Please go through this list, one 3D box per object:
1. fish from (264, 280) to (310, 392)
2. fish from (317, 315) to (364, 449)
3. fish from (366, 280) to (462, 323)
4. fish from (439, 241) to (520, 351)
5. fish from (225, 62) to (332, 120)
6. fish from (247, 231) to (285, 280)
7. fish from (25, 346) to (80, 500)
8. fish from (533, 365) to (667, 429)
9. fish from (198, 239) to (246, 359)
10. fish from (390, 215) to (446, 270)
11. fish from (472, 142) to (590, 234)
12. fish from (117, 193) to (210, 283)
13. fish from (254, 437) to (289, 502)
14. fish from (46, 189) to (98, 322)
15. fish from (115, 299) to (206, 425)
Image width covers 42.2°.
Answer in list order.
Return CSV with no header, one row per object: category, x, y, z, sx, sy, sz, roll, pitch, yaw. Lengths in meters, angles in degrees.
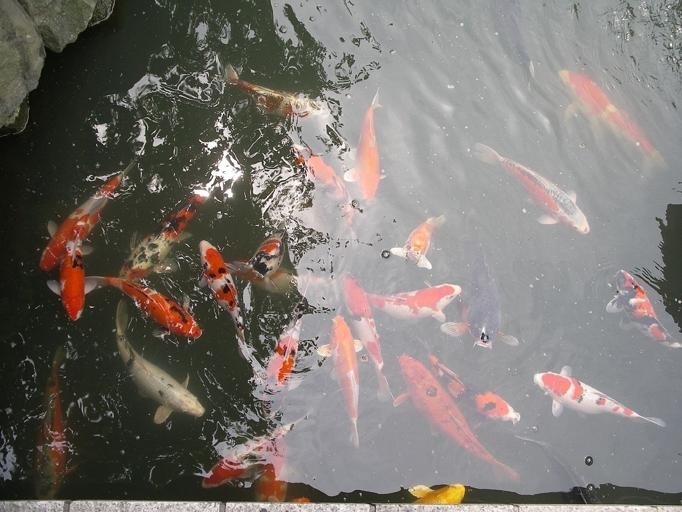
fish,-0.441,0.778,8.188,0.190,0.358,0.832,16,61,-5
fish,-0.009,1.112,7.969,0.346,0.376,1.036,-2,82,-6
fish,0.719,0.439,8.217,0.700,0.296,0.357,-2,32,-4
fish,1.367,0.521,8.236,0.631,0.485,0.795,21,66,34
fish,-0.644,-1.581,8.545,0.664,0.135,0.282,25,34,3
fish,-0.683,-0.009,8.275,0.255,0.246,0.419,25,42,-11
fish,-2.546,1.498,7.947,0.260,0.433,1.199,2,83,-4
fish,2.374,1.288,8.303,1.126,0.468,0.545,25,89,2
fish,-1.095,0.270,8.224,0.292,0.387,1.289,-12,88,-18
fish,0.790,-0.084,8.384,0.646,0.216,0.336,-36,50,-4
fish,1.792,-0.642,8.652,1.276,0.469,0.496,43,96,7
fish,-1.667,-0.123,8.332,0.319,0.462,1.230,32,86,-17
fish,-0.603,1.950,7.837,0.170,0.251,0.607,8,85,-2
fish,-2.454,0.114,8.346,0.401,0.568,1.363,1,45,-12
fish,-1.721,1.090,7.963,0.552,0.330,1.085,-44,79,-9
